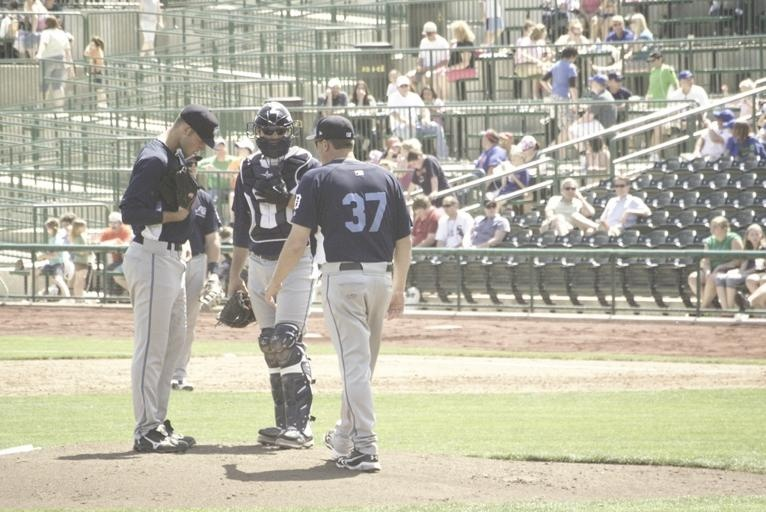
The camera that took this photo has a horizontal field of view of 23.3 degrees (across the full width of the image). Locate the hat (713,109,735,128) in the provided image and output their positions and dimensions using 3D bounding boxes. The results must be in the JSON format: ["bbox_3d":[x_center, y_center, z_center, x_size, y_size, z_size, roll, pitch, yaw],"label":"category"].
[{"bbox_3d":[6.675,-2.740,36.772,0.278,0.207,0.403,-12,47,-37],"label":"hat"}]

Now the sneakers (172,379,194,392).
[{"bbox_3d":[-3.228,2.072,29.907,0.430,0.164,0.151,0,6,-4],"label":"sneakers"}]

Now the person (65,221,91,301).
[{"bbox_3d":[-5.757,0.102,35.603,0.427,1.489,1.018,-1,4,-10],"label":"person"}]

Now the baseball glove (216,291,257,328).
[{"bbox_3d":[-2.181,0.806,28.099,0.602,0.443,0.262,-39,-52,25],"label":"baseball glove"}]

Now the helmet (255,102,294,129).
[{"bbox_3d":[-1.622,-2.091,27.922,0.517,0.384,0.367,-3,6,-24],"label":"helmet"}]

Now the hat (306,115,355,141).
[{"bbox_3d":[-0.753,-1.877,27.413,0.539,0.248,0.375,4,9,19],"label":"hat"}]

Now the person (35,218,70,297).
[{"bbox_3d":[-6.391,0.027,36.370,0.576,1.428,2.203,-1,3,-8],"label":"person"}]

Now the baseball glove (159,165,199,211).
[{"bbox_3d":[-2.985,-0.983,27.376,0.529,0.666,0.136,-1,4,-7],"label":"baseball glove"}]

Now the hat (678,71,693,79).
[{"bbox_3d":[6.183,-3.701,38.274,0.242,0.163,0.312,-3,12,-7],"label":"hat"}]

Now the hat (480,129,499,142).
[{"bbox_3d":[2.150,-2.388,37.452,0.332,0.273,0.511,0,3,2],"label":"hat"}]
